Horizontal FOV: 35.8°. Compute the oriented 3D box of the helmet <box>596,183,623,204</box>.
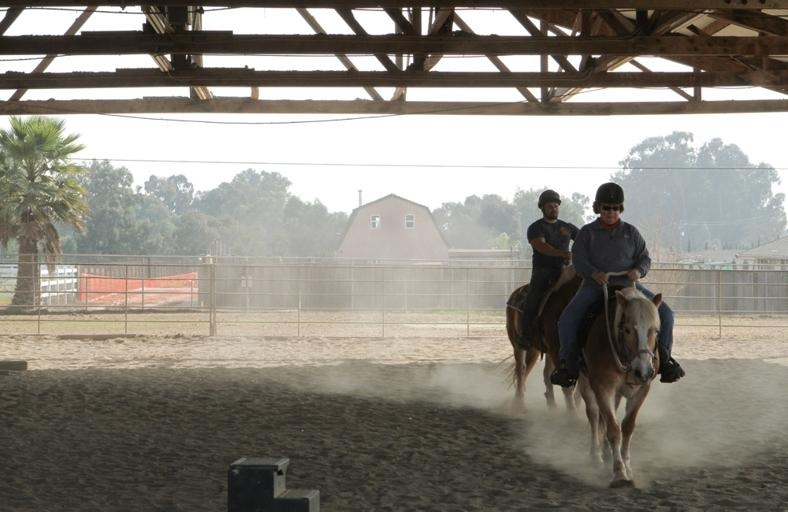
[{"bbox_3d":[3.997,-1.179,22.627,0.559,0.432,0.374,-11,18,-40],"label":"helmet"}]

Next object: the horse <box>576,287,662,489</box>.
[{"bbox_3d":[4.238,2.364,22.457,1.053,3.492,1.258,-8,17,-32],"label":"horse"}]
